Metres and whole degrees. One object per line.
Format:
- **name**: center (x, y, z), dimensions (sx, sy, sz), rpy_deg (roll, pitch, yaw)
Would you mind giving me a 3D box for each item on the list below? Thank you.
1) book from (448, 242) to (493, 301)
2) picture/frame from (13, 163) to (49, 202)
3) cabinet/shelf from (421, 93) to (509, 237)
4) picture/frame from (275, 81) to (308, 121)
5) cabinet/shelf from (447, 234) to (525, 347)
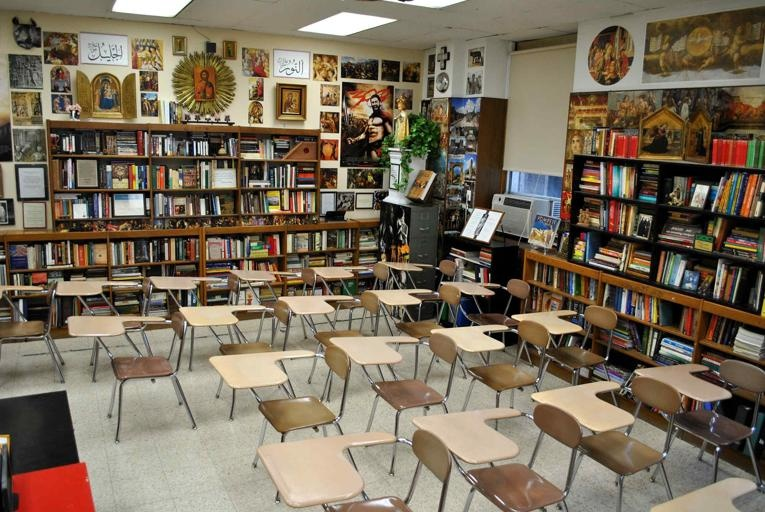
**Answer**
- **book**: center (1.453, 0.259, 8.613), dimensions (0.378, 0.829, 0.940), rpy_deg (-2, 7, -21)
- **picture/frame**: center (-5.482, -1.166, 8.320), dimensions (0.672, 0.753, 0.054), rpy_deg (1, 12, -20)
- **cabinet/shelf**: center (1.552, -1.604, 9.391), dimensions (1.172, 2.309, 0.537), rpy_deg (2, 15, 12)
- **picture/frame**: center (-1.649, -2.786, 9.556), dimensions (0.759, 0.766, 0.120), rpy_deg (-2, 8, -29)
- **cabinet/shelf**: center (1.638, 0.531, 8.199), dimensions (0.622, 1.578, 1.773), rpy_deg (0, 5, -18)
